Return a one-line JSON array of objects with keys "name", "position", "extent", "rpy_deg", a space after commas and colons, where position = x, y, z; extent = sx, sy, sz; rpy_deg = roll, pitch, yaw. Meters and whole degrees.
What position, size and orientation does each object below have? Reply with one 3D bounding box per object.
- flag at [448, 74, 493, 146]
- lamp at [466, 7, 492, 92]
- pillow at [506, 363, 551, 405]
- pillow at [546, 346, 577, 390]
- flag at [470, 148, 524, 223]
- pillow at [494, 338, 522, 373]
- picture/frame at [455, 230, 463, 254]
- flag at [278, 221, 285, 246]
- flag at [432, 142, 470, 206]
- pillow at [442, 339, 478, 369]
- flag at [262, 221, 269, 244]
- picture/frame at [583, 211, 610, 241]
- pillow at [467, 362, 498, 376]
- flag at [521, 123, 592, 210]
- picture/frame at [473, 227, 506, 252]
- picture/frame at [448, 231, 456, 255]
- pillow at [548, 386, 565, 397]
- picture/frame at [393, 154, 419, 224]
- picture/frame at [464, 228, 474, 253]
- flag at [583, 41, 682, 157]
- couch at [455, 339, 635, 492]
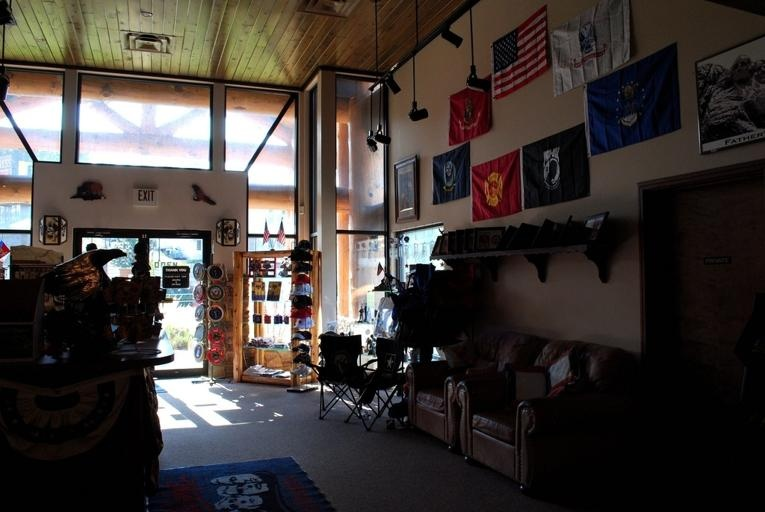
[{"name": "flag", "position": [1.254, -2.003, 7.784], "extent": [0.075, 0.947, 1.068], "rpy_deg": [0, 4, -30]}, {"name": "lamp", "position": [1.278, -2.749, 7.396], "extent": [0.309, 1.356, 1.051], "rpy_deg": [0, 3, 9]}, {"name": "pillow", "position": [1.557, 1.370, 6.020], "extent": [0.353, 0.388, 0.133], "rpy_deg": [2, -16, 19]}, {"name": "pillow", "position": [1.911, 1.191, 5.922], "extent": [0.107, 0.341, 0.373], "rpy_deg": [21, -47, -18]}, {"name": "flag", "position": [1.551, -0.924, 7.425], "extent": [0.071, 0.983, 0.969], "rpy_deg": [1, -2, -32]}, {"name": "pillow", "position": [1.530, 1.158, 6.719], "extent": [0.124, 0.363, 0.346], "rpy_deg": [13, -17, -18]}, {"name": "picture/frame", "position": [1.059, -0.202, 7.649], "extent": [0.097, 0.292, 0.200], "rpy_deg": [0, 3, -8]}, {"name": "flag", "position": [-1.900, -0.433, 10.397], "extent": [0.125, 0.439, 0.217], "rpy_deg": [-1, 3, -10]}, {"name": "flag", "position": [1.034, -1.199, 8.258], "extent": [0.067, 0.865, 0.948], "rpy_deg": [1, -1, -29]}, {"name": "pillow", "position": [1.007, 1.262, 7.243], "extent": [0.322, 0.337, 0.101], "rpy_deg": [1, -13, -19]}, {"name": "flag", "position": [-2.160, -0.432, 10.384], "extent": [0.123, 0.411, 0.166], "rpy_deg": [0, 2, -3]}, {"name": "picture/frame", "position": [2.318, -0.315, 6.038], "extent": [0.236, 0.299, 0.236], "rpy_deg": [1, 3, 21]}, {"name": "pillow", "position": [1.173, 1.348, 6.673], "extent": [0.190, 0.078, 0.198], "rpy_deg": [-4, 4, -19]}, {"name": "flag", "position": [2.090, -1.049, 6.587], "extent": [0.051, 1.116, 1.045], "rpy_deg": [2, 0, -36]}, {"name": "picture/frame", "position": [1.391, -0.223, 7.301], "extent": [0.330, 0.330, 0.080], "rpy_deg": [3, -6, 29]}, {"name": "picture/frame", "position": [0.968, -0.194, 7.759], "extent": [0.080, 0.276, 0.178], "rpy_deg": [0, 3, 1]}, {"name": "pillow", "position": [1.789, 1.382, 5.738], "extent": [0.128, 0.039, 0.129], "rpy_deg": [-34, -5, 7]}, {"name": "picture/frame", "position": [0.416, -1.108, 9.347], "extent": [0.088, 1.340, 1.053], "rpy_deg": [1, -5, -24]}, {"name": "picture/frame", "position": [1.155, -0.211, 7.494], "extent": [0.106, 0.297, 0.186], "rpy_deg": [0, 3, -1]}, {"name": "flag", "position": [2.628, -1.613, 5.773], "extent": [0.062, 1.261, 1.226], "rpy_deg": [5, -7, -41]}, {"name": "couch", "position": [1.728, 1.593, 5.837], "extent": [1.303, 1.269, 1.494], "rpy_deg": [4, -7, -21]}]
